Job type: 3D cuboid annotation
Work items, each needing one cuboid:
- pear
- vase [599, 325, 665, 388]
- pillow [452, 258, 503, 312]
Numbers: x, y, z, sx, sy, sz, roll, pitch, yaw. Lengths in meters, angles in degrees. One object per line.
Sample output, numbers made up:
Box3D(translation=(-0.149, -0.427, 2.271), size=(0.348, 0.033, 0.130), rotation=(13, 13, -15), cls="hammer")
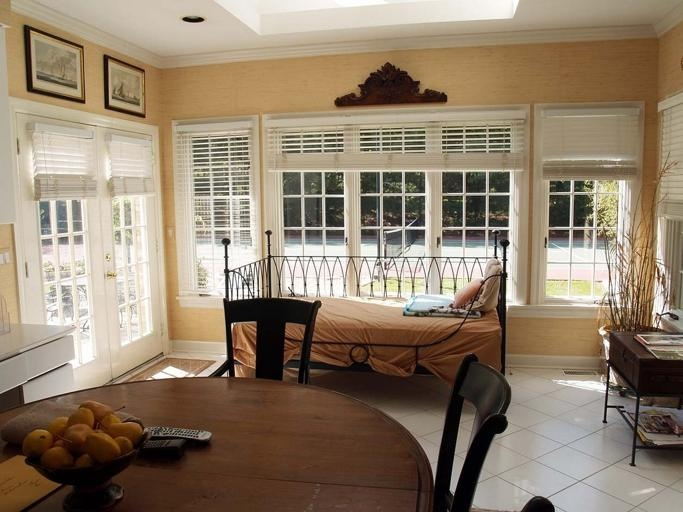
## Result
Box3D(translation=(-0.821, 0.565, 1.602), size=(0.248, 0.128, 0.253), rotation=(1, -2, 5), cls="pear")
Box3D(translation=(2.455, 0.899, 4.527), size=(0.485, 0.478, 0.541), rotation=(0, 9, 15), cls="vase")
Box3D(translation=(1.167, 0.312, 4.465), size=(0.448, 0.422, 0.715), rotation=(-1, 0, 15), cls="pillow")
